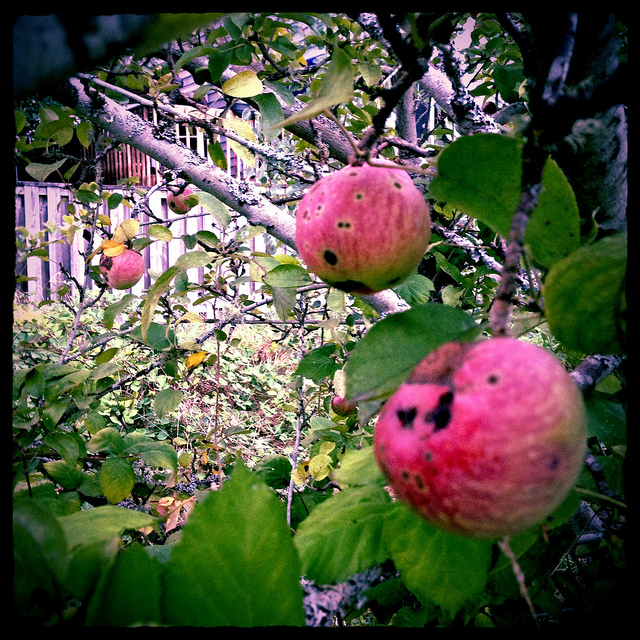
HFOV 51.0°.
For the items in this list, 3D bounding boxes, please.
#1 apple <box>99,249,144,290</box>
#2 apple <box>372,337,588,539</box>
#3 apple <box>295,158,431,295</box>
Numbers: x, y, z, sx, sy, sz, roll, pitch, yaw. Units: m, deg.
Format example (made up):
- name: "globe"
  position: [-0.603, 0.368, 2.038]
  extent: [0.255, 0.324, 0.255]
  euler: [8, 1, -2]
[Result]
- name: "apple"
  position: [-0.611, -0.158, 2.138]
  extent: [0.139, 0.110, 0.121]
  euler: [2, -3, 2]
- name: "apple"
  position: [0.179, 0.107, 0.839]
  extent: [0.296, 0.212, 0.220]
  euler: [-6, 5, -17]
- name: "apple"
  position: [0.072, -0.149, 0.992]
  extent: [0.213, 0.204, 0.204]
  euler: [1, -5, 18]
